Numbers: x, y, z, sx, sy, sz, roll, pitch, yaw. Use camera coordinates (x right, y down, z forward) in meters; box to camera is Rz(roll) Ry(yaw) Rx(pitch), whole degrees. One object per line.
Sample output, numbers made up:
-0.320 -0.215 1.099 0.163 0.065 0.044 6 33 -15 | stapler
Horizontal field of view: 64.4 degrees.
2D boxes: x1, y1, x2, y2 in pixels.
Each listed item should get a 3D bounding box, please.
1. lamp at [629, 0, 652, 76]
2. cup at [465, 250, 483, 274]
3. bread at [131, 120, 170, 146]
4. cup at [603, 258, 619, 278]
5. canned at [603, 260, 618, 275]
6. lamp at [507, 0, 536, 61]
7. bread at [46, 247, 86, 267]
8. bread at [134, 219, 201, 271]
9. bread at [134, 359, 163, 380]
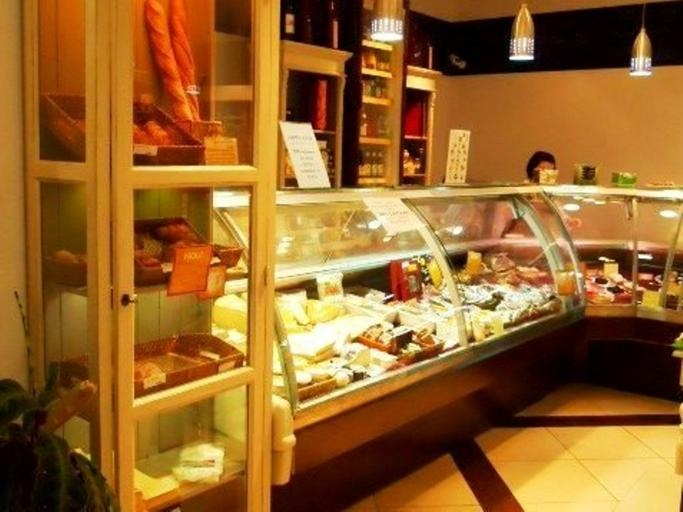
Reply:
2.513 -1.709 4.546 0.158 0.401 0.530 8 14 27 | lamp
0.836 0.042 3.447 0.092 0.161 0.086 5 -19 2 | cup
-0.628 -0.404 1.780 0.051 0.073 0.145 9 14 30 | bread
2.040 0.095 4.118 0.105 0.105 0.108 1 -5 0 | cup
2.043 0.095 4.123 0.092 0.090 0.094 -1 1 27 | canned
1.245 -1.552 3.712 0.155 0.381 0.397 5 13 16 | lamp
-0.907 -0.012 1.825 0.110 0.032 0.083 5 8 27 | bread
-0.634 -0.041 1.966 0.166 0.046 0.176 -3 30 -22 | bread
-0.678 0.391 1.900 0.060 0.021 0.064 2 20 -37 | bread
